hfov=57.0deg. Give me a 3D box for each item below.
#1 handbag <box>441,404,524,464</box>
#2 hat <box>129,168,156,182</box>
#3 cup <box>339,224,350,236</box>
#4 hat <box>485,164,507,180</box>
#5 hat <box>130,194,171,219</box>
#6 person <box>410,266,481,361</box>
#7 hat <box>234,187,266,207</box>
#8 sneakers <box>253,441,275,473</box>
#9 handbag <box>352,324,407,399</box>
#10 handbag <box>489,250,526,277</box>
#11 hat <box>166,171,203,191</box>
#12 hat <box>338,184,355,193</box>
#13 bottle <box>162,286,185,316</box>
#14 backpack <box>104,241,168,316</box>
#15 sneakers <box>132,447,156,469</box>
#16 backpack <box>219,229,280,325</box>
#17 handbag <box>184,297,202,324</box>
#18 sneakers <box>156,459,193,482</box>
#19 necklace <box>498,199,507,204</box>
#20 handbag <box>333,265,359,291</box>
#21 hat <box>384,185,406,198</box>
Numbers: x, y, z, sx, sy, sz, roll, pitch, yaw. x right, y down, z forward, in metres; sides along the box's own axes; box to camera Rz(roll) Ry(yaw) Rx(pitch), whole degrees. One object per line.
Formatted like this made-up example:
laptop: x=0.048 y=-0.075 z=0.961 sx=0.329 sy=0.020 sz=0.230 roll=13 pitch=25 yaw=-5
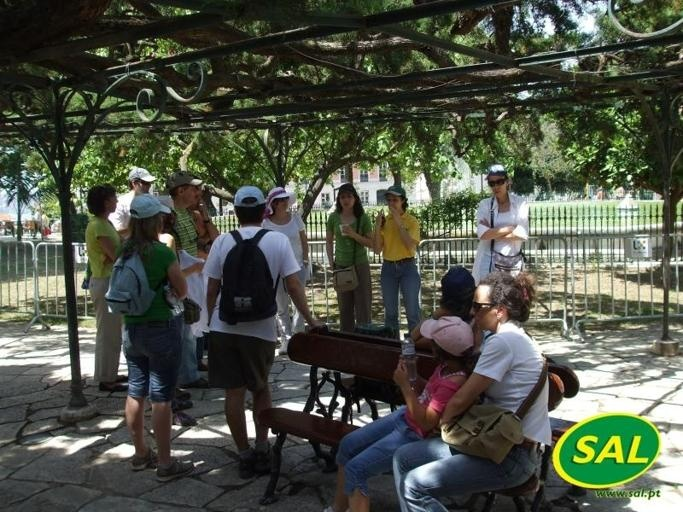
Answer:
handbag: x=0.921 y=1.110 z=4.165 sx=0.418 sy=0.178 sz=0.414 roll=-9 pitch=10 yaw=-36
hat: x=-2.325 y=-0.934 z=7.289 sx=0.254 sy=0.130 sz=0.171 roll=0 pitch=8 yaw=-16
cup: x=0.040 y=-0.333 z=8.161 sx=0.110 sy=0.146 sz=0.173 roll=-2 pitch=3 yaw=-3
hat: x=1.934 y=-1.032 z=7.818 sx=0.243 sy=0.217 sz=0.278 roll=1 pitch=4 yaw=40
hat: x=-1.605 y=-0.397 z=5.383 sx=0.323 sy=0.182 sz=0.225 roll=-25 pitch=33 yaw=-38
person: x=0.854 y=0.425 z=5.205 sx=0.420 sy=0.764 sz=0.389 roll=-3 pitch=-36 yaw=2
hat: x=-0.807 y=-0.518 z=5.439 sx=0.157 sy=0.125 sz=0.227 roll=-2 pitch=17 yaw=-9
sneakers: x=-0.667 y=1.778 z=5.540 sx=0.170 sy=0.198 sz=0.294 roll=0 pitch=19 yaw=-6
handbag: x=0.302 y=0.908 z=5.226 sx=0.384 sy=0.456 sz=0.664 roll=10 pitch=-7 yaw=-16
handbag: x=1.864 y=0.089 z=7.130 sx=0.259 sy=0.321 sz=0.170 roll=-2 pitch=5 yaw=-30
hat: x=-1.673 y=-0.794 z=6.709 sx=0.300 sy=0.160 sz=0.196 roll=-7 pitch=14 yaw=-26
hat: x=0.068 y=-0.882 z=8.233 sx=0.229 sy=0.130 sz=0.205 roll=-2 pitch=3 yaw=-1
bottle: x=-1.447 y=0.382 z=5.406 sx=0.210 sy=0.290 sz=0.107 roll=11 pitch=10 yaw=9
backpack: x=-1.698 y=0.210 z=5.351 sx=0.598 sy=0.759 sz=0.475 roll=-3 pitch=-4 yaw=23
sneakers: x=-1.746 y=1.817 z=5.654 sx=0.116 sy=0.121 sz=0.261 roll=2 pitch=4 yaw=19
backpack: x=-0.783 y=0.178 z=5.230 sx=0.482 sy=0.780 sz=0.206 roll=-2 pitch=3 yaw=-6
handbag: x=-1.335 y=0.502 z=5.664 sx=0.223 sy=0.225 sz=0.169 roll=-2 pitch=8 yaw=-22
sneakers: x=-1.431 y=1.851 z=5.506 sx=0.322 sy=0.144 sz=0.137 roll=-5 pitch=7 yaw=-43
necklace: x=2.027 y=-0.666 z=7.942 sx=0.070 sy=0.092 sz=0.090 roll=-12 pitch=15 yaw=5
handbag: x=0.065 y=0.302 z=8.135 sx=0.302 sy=0.304 sz=0.163 roll=-8 pitch=1 yaw=3
hat: x=0.700 y=-0.820 z=8.043 sx=0.210 sy=0.162 sz=0.311 roll=0 pitch=4 yaw=27
